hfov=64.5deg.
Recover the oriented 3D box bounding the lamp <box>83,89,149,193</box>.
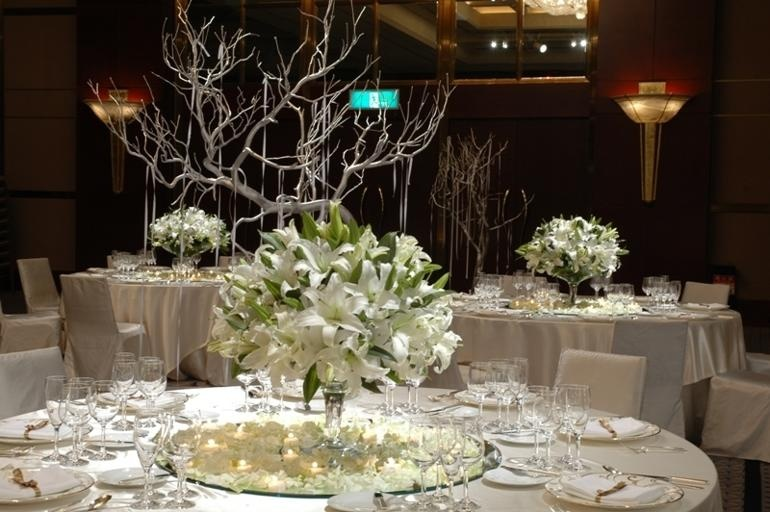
[{"bbox_3d":[-3.646,-1.623,8.395,0.764,1.617,3.569,-2,8,-26],"label":"lamp"}]

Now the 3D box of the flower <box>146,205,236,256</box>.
[{"bbox_3d":[-2.318,-0.292,7.230,0.836,0.695,0.877,4,-8,-17],"label":"flower"}]

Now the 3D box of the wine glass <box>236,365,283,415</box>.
[{"bbox_3d":[-0.552,0.537,2.652,0.147,0.207,0.515,2,1,-18],"label":"wine glass"}]

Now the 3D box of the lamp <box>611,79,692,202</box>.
[{"bbox_3d":[3.372,-1.491,7.894,0.827,1.591,0.628,5,9,20],"label":"lamp"}]

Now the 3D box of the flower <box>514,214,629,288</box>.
[{"bbox_3d":[1.519,-0.075,5.022,0.666,0.622,0.681,6,-11,-25],"label":"flower"}]
